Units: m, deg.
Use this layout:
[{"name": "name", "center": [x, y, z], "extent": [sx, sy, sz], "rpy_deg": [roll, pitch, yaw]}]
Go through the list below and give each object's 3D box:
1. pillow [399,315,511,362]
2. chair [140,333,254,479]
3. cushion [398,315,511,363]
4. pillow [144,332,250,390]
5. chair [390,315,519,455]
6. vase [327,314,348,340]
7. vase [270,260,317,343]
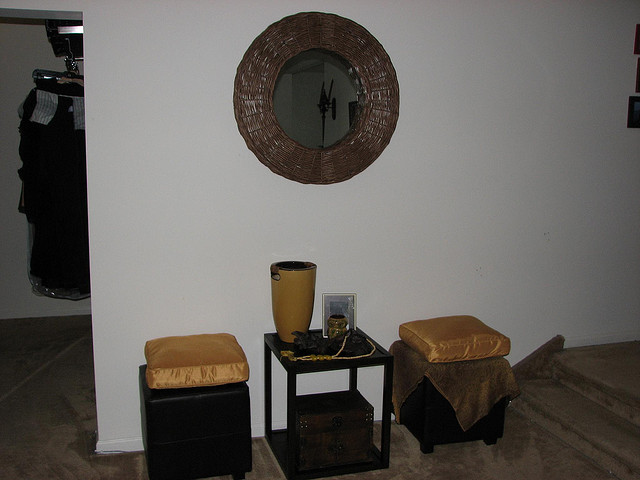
[{"name": "pillow", "center": [0.777, 0.568, 2.921], "extent": [0.313, 0.127, 0.338], "rpy_deg": [-3, 11, -16]}, {"name": "chair", "center": [-0.626, 0.839, 2.876], "extent": [0.577, 0.848, 0.627], "rpy_deg": [-2, 4, -13]}, {"name": "cushion", "center": [0.785, 0.572, 2.969], "extent": [0.312, 0.120, 0.335], "rpy_deg": [-3, 4, -17]}, {"name": "pillow", "center": [-0.667, 0.640, 2.707], "extent": [0.505, 0.155, 0.434], "rpy_deg": [-3, 13, -19]}, {"name": "chair", "center": [0.796, 0.853, 3.162], "extent": [0.796, 0.690, 0.831], "rpy_deg": [6, 5, 41]}, {"name": "vase", "center": [0.099, 0.474, 2.813], "extent": [0.096, 0.118, 0.104], "rpy_deg": [3, 9, 20]}, {"name": "vase", "center": [-0.161, 0.320, 2.893], "extent": [0.256, 0.464, 0.267], "rpy_deg": [18, 30, 40]}]
